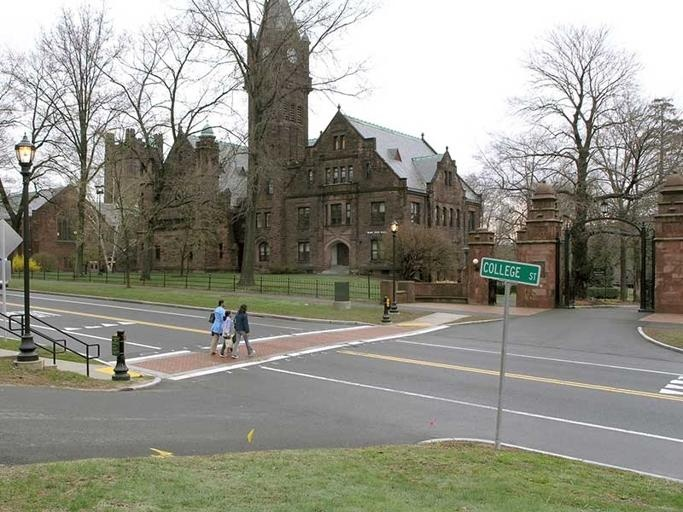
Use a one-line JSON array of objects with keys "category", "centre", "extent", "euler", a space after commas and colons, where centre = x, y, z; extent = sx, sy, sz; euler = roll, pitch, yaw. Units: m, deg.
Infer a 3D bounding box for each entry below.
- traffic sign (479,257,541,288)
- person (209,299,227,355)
[{"category": "traffic sign", "centre": [4.500, 0.390, 22.041], "extent": [1.492, 0.645, 1.074], "euler": [0, -3, 18]}, {"category": "person", "centre": [-4.603, 2.631, 30.374], "extent": [0.526, 1.978, 0.720], "euler": [2, -2, -11]}]
